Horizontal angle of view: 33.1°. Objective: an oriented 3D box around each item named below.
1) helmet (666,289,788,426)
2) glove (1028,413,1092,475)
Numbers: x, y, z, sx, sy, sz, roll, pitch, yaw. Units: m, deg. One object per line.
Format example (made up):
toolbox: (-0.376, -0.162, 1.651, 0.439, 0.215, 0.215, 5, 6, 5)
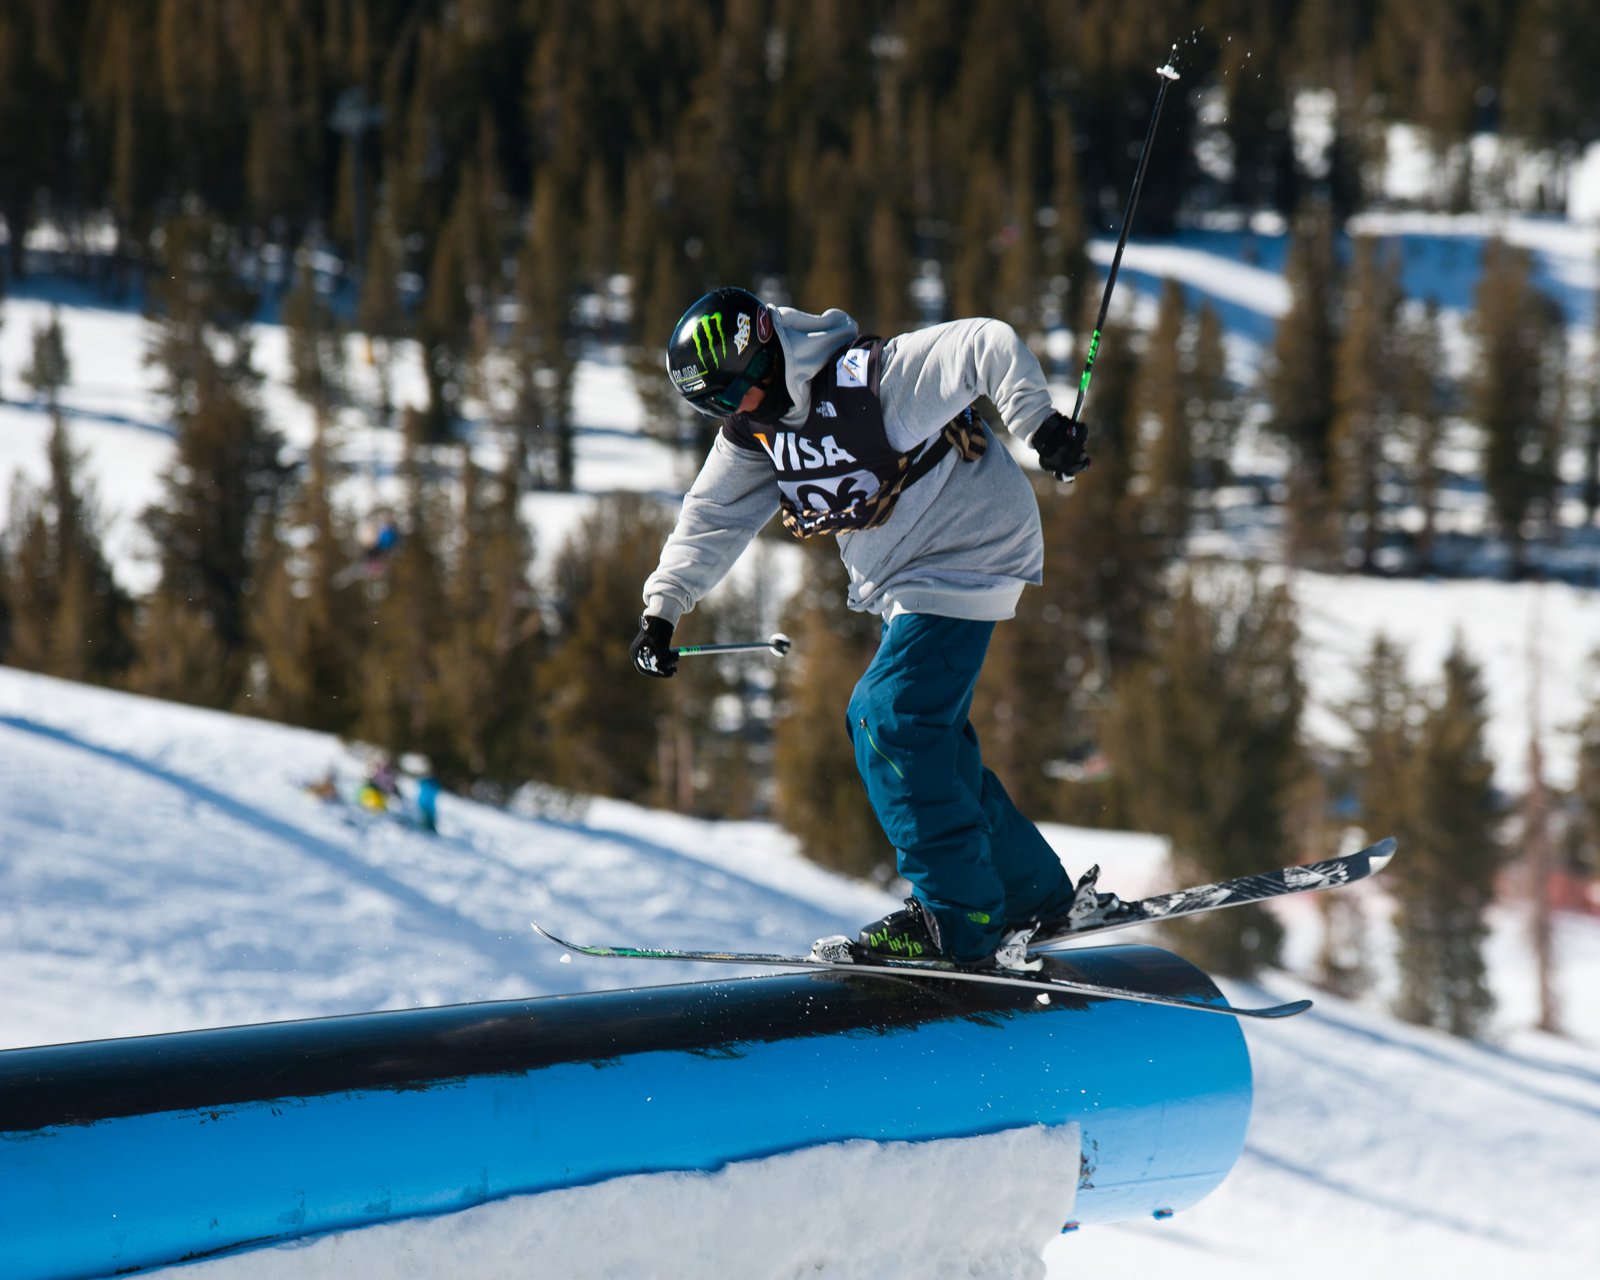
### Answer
helmet: (-0.312, -1.049, 10.434, 0.443, 0.537, 0.389, 16, -28, -42)
glove: (0.980, -0.757, 10.127, 0.174, 0.261, 0.093, -34, -20, 25)
